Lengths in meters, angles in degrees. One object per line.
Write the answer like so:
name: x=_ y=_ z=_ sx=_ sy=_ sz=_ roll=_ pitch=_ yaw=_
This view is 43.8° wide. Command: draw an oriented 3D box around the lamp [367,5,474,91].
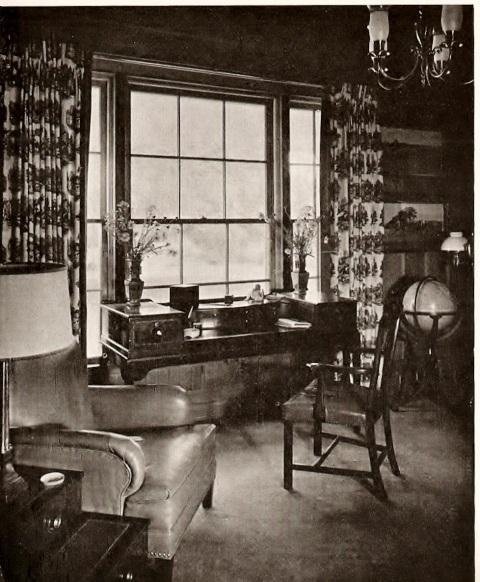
lamp: x=0.473 y=-0.590 z=1.542 sx=0.173 sy=0.276 sz=0.218 roll=0 pitch=0 yaw=-13

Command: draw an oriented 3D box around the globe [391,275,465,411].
globe: x=0.518 y=0.120 z=1.628 sx=0.138 sy=0.320 sz=0.181 roll=-3 pitch=0 yaw=-8

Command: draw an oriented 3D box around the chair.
chair: x=0.319 y=0.254 z=1.773 sx=0.284 sy=0.849 sz=0.375 roll=1 pitch=0 yaw=16

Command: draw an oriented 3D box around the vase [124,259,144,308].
vase: x=-0.257 y=-0.032 z=1.461 sx=0.058 sy=0.126 sz=0.076 roll=-4 pitch=30 yaw=-20

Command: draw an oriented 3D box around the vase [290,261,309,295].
vase: x=0.161 y=-0.038 z=1.494 sx=0.047 sy=0.107 sz=0.051 roll=-1 pitch=1 yaw=-36
